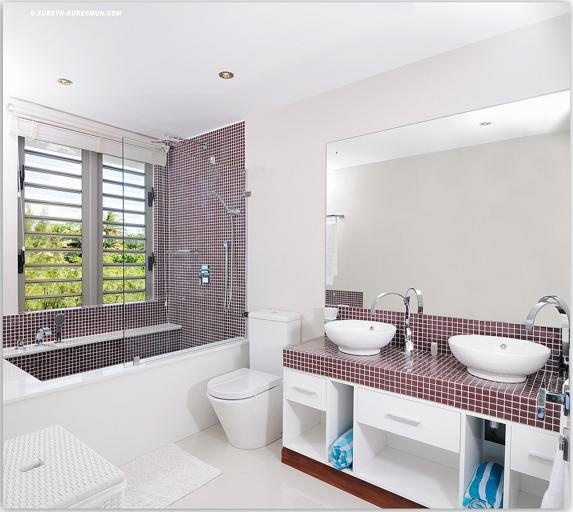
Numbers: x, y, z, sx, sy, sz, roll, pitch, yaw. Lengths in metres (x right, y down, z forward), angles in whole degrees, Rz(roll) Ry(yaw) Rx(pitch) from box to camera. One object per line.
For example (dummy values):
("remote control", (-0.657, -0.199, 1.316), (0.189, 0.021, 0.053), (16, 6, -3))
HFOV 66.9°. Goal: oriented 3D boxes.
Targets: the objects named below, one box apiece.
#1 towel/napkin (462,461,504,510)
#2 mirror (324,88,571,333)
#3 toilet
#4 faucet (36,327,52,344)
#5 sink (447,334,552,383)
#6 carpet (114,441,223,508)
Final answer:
("towel/napkin", (1.086, 1.235, 2.362), (0.156, 0.068, 0.219), (-8, 5, 31))
("mirror", (1.054, -0.280, 2.715), (1.614, 1.278, 0.022), (1, 1, 35))
("toilet", (-0.289, 0.928, 3.290), (0.476, 0.945, 0.738), (3, 4, 41))
("faucet", (-1.950, 0.634, 3.477), (0.082, 0.145, 0.137), (8, -5, -26))
("sink", (1.160, 0.563, 2.398), (0.494, 0.186, 0.375), (5, 9, 32))
("carpet", (-0.799, 1.421, 2.791), (0.589, 0.055, 0.552), (7, 10, 40))
